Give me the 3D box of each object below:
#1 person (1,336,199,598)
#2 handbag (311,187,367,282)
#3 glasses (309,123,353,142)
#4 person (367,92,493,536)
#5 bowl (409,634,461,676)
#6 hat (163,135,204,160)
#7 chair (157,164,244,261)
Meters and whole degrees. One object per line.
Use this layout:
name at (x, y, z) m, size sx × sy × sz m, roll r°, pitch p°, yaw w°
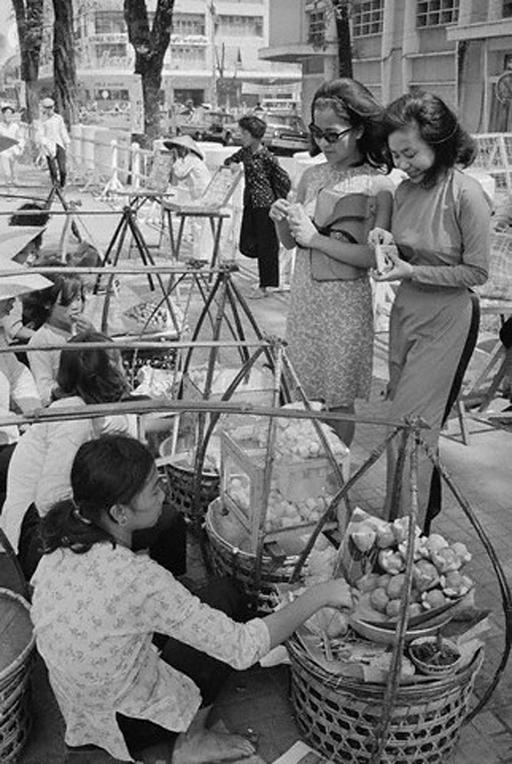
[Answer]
person at (-0.464, 0.256, 1.974) m, size 0.330 × 0.915 × 0.493 m, roll 31°, pitch 44°, yaw 28°
handbag at (0.315, -0.550, 2.501) m, size 0.163 × 0.329 × 0.231 m, roll -16°, pitch 26°, yaw -31°
glasses at (0.252, -0.884, 2.393) m, size 0.166 × 0.074 × 0.073 m, roll 12°, pitch 22°, yaw 33°
person at (0.577, -0.146, 2.257) m, size 0.351 × 1.523 × 0.396 m, roll 7°, pitch 19°, yaw 22°
bowl at (0.413, 0.626, 1.526) m, size 0.079 × 0.052 × 0.076 m, roll -2°, pitch 28°, yaw 1°
hat at (-0.911, -3.076, 8.642) m, size 0.351 × 0.185 × 0.467 m, roll 9°, pitch -4°, yaw 35°
chair at (-0.641, -1.937, 7.376) m, size 0.619 × 0.900 × 0.919 m, roll -4°, pitch 32°, yaw -21°
